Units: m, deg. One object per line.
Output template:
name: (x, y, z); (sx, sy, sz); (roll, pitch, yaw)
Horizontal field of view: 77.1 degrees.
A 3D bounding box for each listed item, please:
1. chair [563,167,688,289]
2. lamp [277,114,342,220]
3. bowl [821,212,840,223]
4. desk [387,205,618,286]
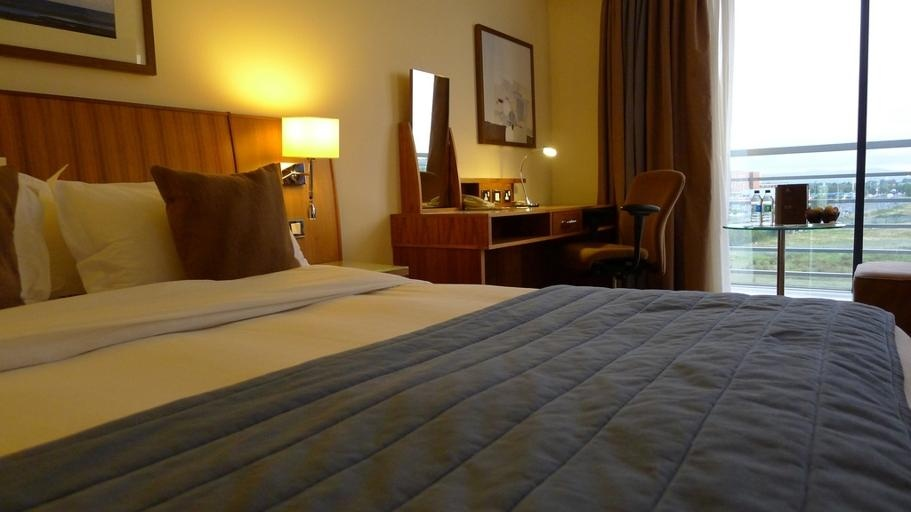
chair: (1.281, -0.071, 4.421); (0.823, 1.198, 0.887); (3, 4, 4)
lamp: (-0.886, -0.545, 3.501); (0.449, 0.628, 0.448); (8, 15, 20)
bowl: (2.647, -0.265, 4.024); (0.084, 0.059, 0.073); (0, 2, 11)
desk: (0.618, 0.009, 4.518); (0.654, 0.791, 1.823); (5, 11, 41)
